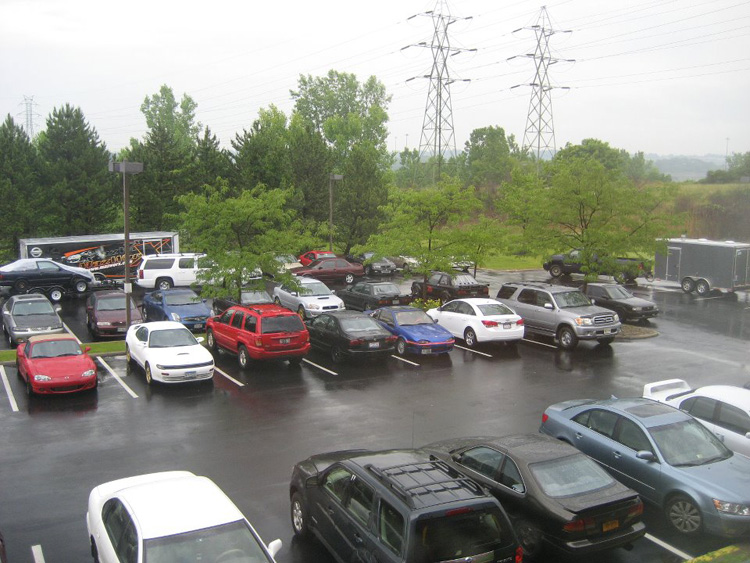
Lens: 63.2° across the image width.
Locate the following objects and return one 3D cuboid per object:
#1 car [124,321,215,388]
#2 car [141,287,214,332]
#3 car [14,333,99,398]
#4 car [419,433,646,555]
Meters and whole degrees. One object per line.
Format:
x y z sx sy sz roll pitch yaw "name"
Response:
-6.561 2.325 19.399 1.631 1.659 3.465 -7 12 -38 "car"
-8.581 1.169 25.923 1.535 1.174 3.435 -3 9 -36 "car"
-9.374 2.554 17.978 1.919 1.487 2.128 -4 11 -28 "car"
2.850 3.842 10.621 1.616 1.208 3.660 -5 13 -32 "car"
